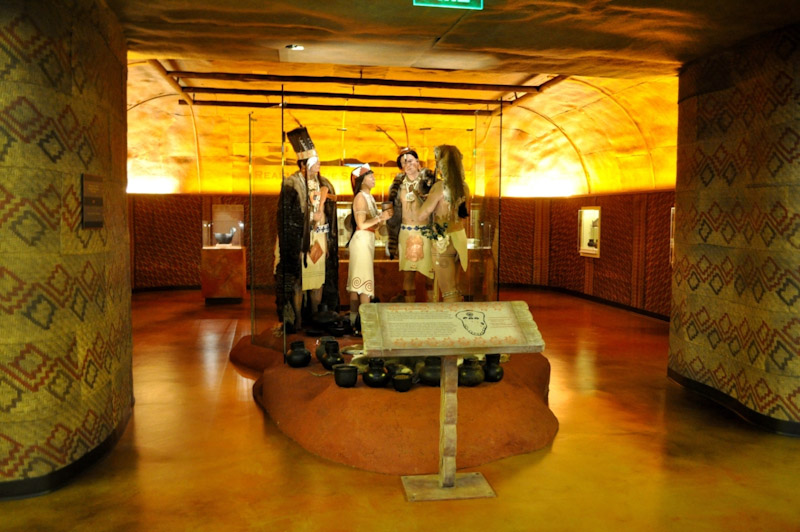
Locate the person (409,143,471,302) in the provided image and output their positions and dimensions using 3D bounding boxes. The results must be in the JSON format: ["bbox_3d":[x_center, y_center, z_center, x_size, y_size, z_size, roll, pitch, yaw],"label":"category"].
[{"bbox_3d":[0.572,-0.568,6.859,0.627,2.074,0.491,0,7,1],"label":"person"}]

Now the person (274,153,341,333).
[{"bbox_3d":[-1.239,-0.306,7.021,0.561,2.387,1.206,7,10,41],"label":"person"}]

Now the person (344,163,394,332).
[{"bbox_3d":[-0.483,-0.291,7.190,0.657,2.264,0.615,-5,9,-34],"label":"person"}]
